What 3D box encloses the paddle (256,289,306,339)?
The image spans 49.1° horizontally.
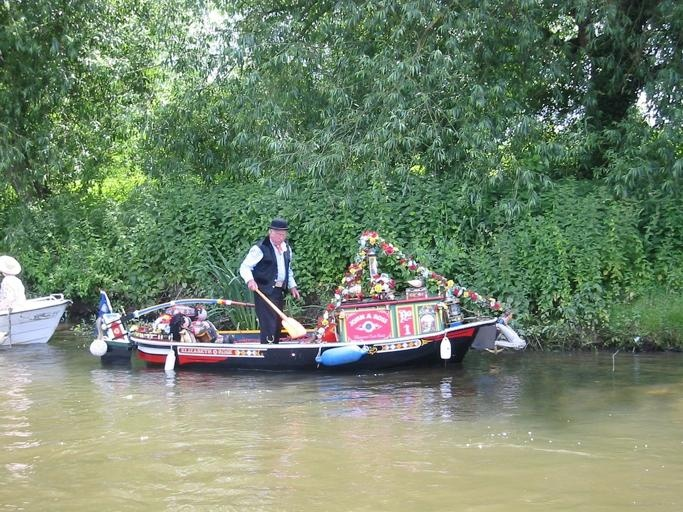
[{"bbox_3d":[-1.070,0.980,13.236,0.834,0.968,0.429,0,10,1],"label":"paddle"}]

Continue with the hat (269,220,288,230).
[{"bbox_3d":[-1.109,-0.569,13.142,0.322,0.142,0.378,2,3,-5],"label":"hat"}]

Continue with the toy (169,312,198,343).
[{"bbox_3d":[-2.985,1.295,13.900,0.408,0.560,0.263,13,29,9],"label":"toy"}]

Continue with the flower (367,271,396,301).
[{"bbox_3d":[0.745,0.476,13.458,0.425,0.294,0.463,7,-34,16],"label":"flower"}]

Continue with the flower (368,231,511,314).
[{"bbox_3d":[1.943,0.334,14.805,2.475,0.365,0.286,33,44,13],"label":"flower"}]
